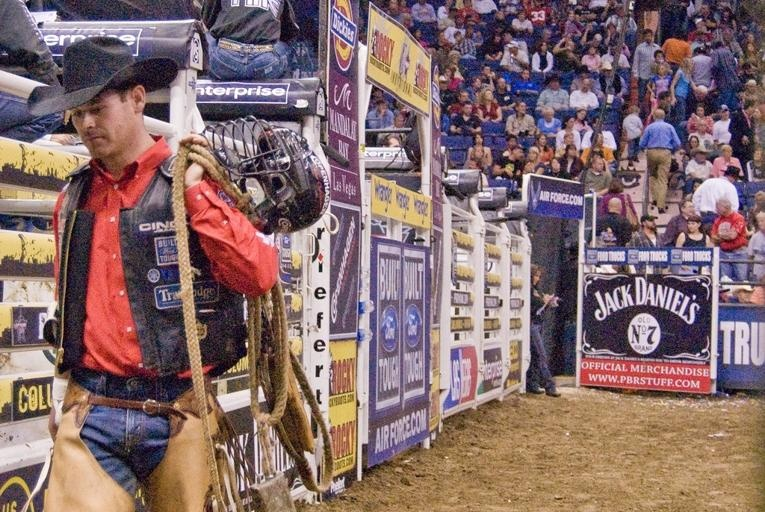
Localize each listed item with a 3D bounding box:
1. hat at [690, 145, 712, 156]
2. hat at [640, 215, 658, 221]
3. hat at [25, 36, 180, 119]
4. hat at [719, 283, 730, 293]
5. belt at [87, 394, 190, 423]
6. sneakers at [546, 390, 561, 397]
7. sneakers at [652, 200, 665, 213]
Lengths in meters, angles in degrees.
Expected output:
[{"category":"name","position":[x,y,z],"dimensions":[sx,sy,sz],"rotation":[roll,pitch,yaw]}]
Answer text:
[{"category":"hat","position":[6.524,-2.165,22.288],"dimensions":[0.258,0.092,0.254],"rotation":[-8,-10,29]},{"category":"hat","position":[4.785,-0.686,19.555],"dimensions":[0.312,0.131,0.218],"rotation":[-9,-5,32]},{"category":"hat","position":[-1.619,-1.073,6.337],"dimensions":[0.588,0.257,0.558],"rotation":[-29,8,-37]},{"category":"hat","position":[5.252,0.501,16.704],"dimensions":[0.137,0.127,0.237],"rotation":[0,2,-43]},{"category":"belt","position":[-1.433,0.867,6.325],"dimensions":[0.300,0.089,0.225],"rotation":[9,-4,1]},{"category":"sneakers","position":[2.645,2.105,16.804],"dimensions":[0.088,0.119,0.251],"rotation":[5,-8,-24]},{"category":"sneakers","position":[5.750,-1.026,22.724],"dimensions":[0.253,0.277,0.338],"rotation":[2,2,10]}]
